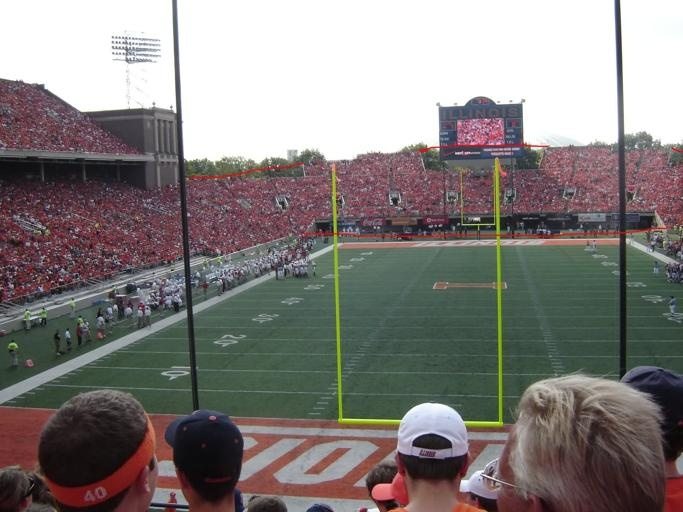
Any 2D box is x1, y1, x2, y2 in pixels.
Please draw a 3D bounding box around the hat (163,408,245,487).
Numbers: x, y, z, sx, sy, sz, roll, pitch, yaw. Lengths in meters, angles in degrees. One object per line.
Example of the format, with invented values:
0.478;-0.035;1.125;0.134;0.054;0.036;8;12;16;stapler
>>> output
-0.480;0.643;2.289;0.212;0.144;0.292;-2;20;-26;hat
